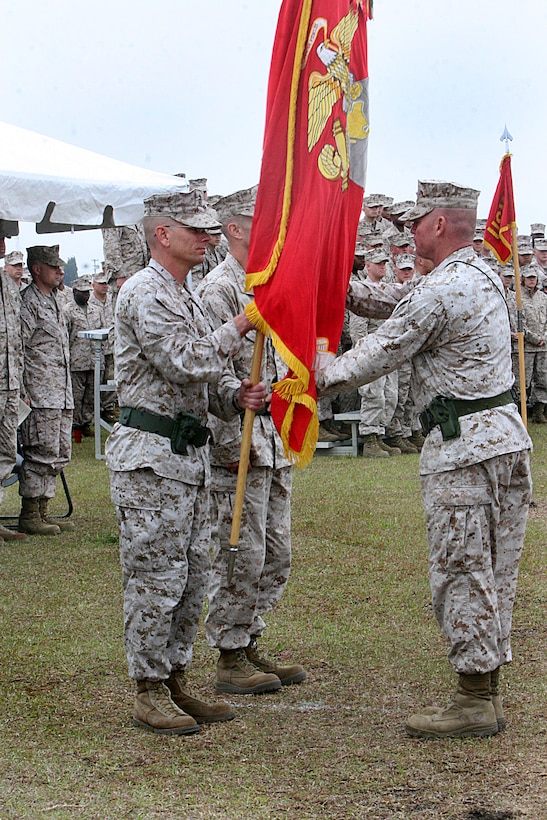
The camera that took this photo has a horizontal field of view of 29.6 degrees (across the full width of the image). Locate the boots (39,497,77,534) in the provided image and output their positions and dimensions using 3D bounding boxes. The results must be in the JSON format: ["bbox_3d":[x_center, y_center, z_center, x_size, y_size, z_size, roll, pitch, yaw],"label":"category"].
[{"bbox_3d":[-1.561,0.771,7.504,0.397,0.254,0.140,-1,1,7],"label":"boots"}]

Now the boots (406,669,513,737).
[{"bbox_3d":[0.678,1.062,3.841,0.409,0.323,0.195,1,-4,9],"label":"boots"}]

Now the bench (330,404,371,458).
[{"bbox_3d":[0.833,0.224,10.852,0.436,0.458,0.760,0,3,7],"label":"bench"}]

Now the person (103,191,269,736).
[{"bbox_3d":[-0.360,0.177,3.852,0.497,1.516,0.460,4,2,-19],"label":"person"}]

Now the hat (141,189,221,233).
[{"bbox_3d":[-0.335,-0.742,3.851,0.248,0.091,0.163,9,13,20],"label":"hat"}]

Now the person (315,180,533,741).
[{"bbox_3d":[0.604,0.151,3.833,0.667,1.777,0.384,5,2,17],"label":"person"}]

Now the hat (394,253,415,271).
[{"bbox_3d":[1.334,-1.508,10.511,0.179,0.116,0.258,1,-5,2],"label":"hat"}]

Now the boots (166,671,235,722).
[{"bbox_3d":[-0.232,1.100,3.977,0.371,0.206,0.119,1,3,-3],"label":"boots"}]

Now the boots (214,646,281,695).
[{"bbox_3d":[-0.059,1.093,4.313,0.354,0.203,0.125,0,-6,5],"label":"boots"}]

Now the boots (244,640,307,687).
[{"bbox_3d":[0.010,1.089,4.449,0.347,0.202,0.117,-2,4,-4],"label":"boots"}]

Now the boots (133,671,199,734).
[{"bbox_3d":[-0.402,1.076,3.802,0.313,0.175,0.124,-2,-4,43],"label":"boots"}]
